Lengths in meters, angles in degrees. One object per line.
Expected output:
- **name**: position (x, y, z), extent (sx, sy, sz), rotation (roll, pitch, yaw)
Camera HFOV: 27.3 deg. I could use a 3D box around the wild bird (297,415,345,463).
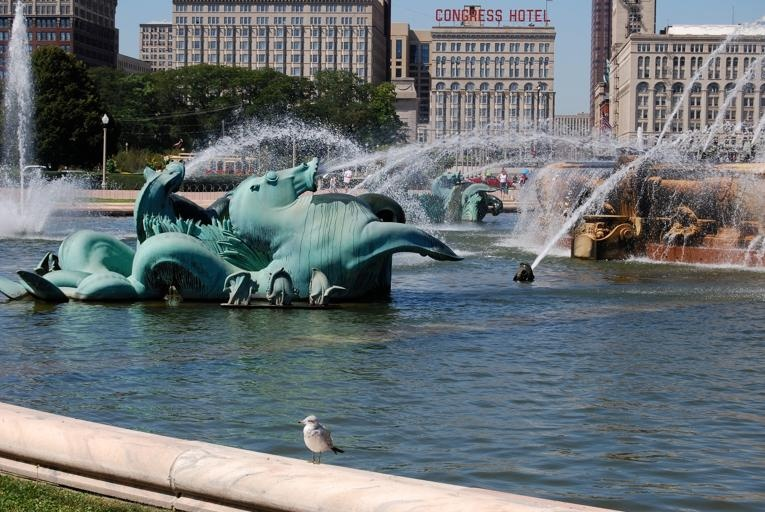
- **wild bird**: position (-1.021, 2.951, 25.283), extent (0.543, 0.769, 0.699), rotation (0, 4, -27)
